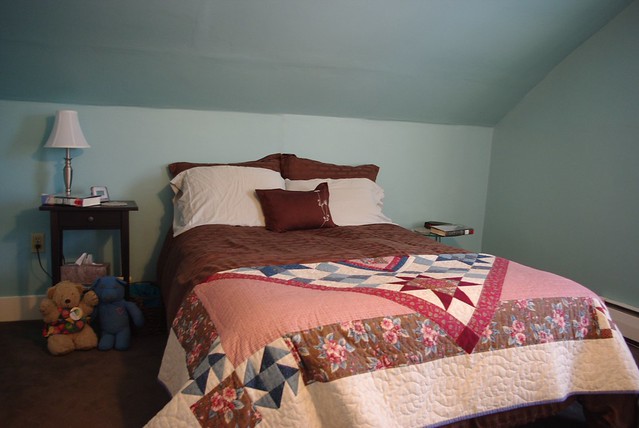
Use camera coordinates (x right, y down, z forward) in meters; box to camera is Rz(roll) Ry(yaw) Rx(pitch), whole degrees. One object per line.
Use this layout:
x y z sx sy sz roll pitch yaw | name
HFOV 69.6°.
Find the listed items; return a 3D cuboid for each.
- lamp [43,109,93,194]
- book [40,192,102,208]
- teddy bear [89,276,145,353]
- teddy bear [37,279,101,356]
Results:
-1.884 -0.463 3.431 0.279 0.646 0.317 -1 5 -27 | lamp
-1.791 -0.096 3.324 0.387 0.080 0.230 0 3 -26 | book
-1.462 0.699 3.226 0.381 0.488 0.347 -7 6 -21 | teddy bear
-1.732 0.705 3.328 0.451 0.531 0.469 -1 4 -39 | teddy bear
